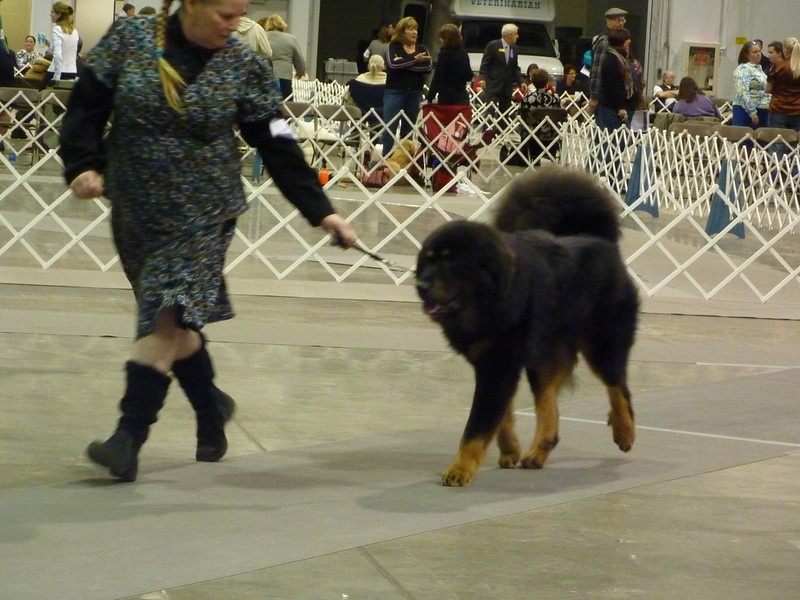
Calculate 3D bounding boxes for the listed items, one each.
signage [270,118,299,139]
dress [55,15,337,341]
[{"bbox_3d":[-0.462,-0.677,3.343,0.114,0.074,0.033,-10,-5,-30],"label":"signage"},{"bbox_3d":[-0.803,-0.462,3.263,0.983,1.229,0.349,4,12,-16],"label":"dress"}]
